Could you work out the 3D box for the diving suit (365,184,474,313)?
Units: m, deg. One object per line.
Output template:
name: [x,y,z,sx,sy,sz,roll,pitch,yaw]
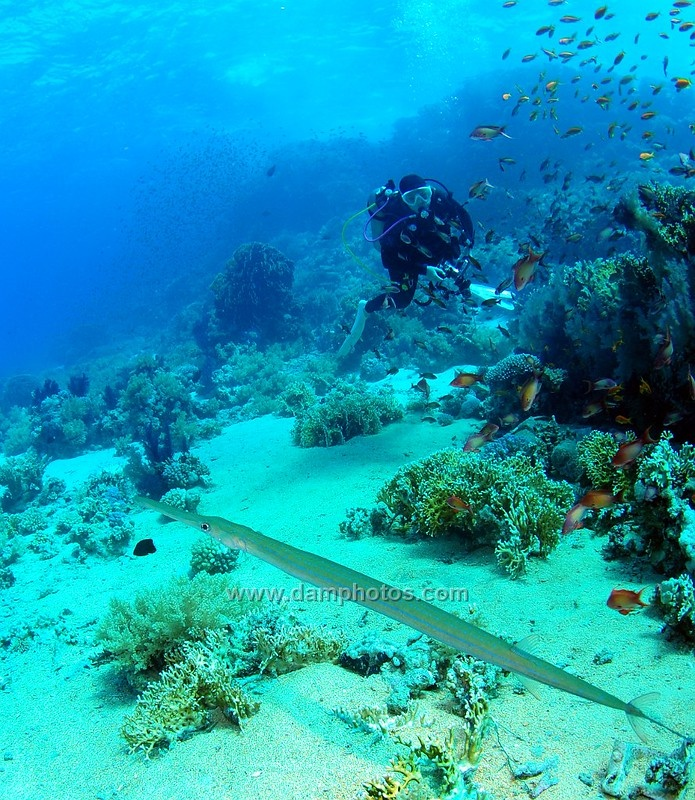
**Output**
diving suit: [1.216,-2.440,11.771,1.219,2.209,1.876,-19,24,-23]
